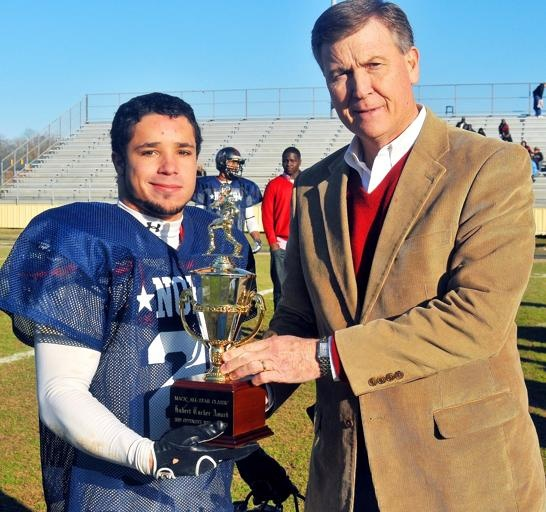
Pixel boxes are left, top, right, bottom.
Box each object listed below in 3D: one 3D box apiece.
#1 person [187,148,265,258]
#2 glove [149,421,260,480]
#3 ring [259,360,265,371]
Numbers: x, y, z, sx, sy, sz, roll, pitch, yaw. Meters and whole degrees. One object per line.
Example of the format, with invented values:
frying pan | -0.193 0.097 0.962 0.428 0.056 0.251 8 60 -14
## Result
person | -0.386 -0.703 7.791 0.736 1.505 0.806 -4 16 -33
glove | -0.212 0.544 2.149 0.361 0.128 0.146 -2 4 -38
ring | -0.032 0.331 2.253 0.024 0.026 0.024 4 1 0
